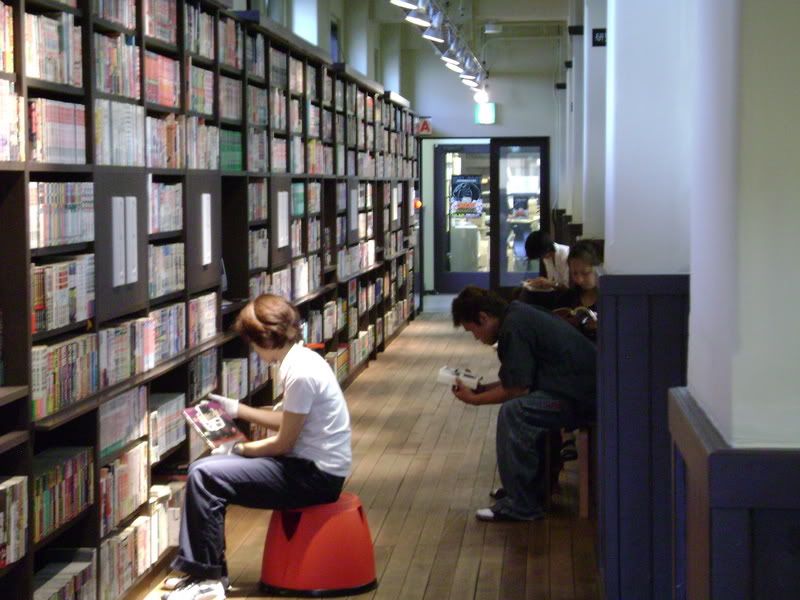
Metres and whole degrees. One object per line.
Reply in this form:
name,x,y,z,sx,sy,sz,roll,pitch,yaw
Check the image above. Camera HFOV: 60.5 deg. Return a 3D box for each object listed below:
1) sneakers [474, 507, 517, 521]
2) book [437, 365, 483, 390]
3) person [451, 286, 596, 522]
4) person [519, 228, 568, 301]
sneakers,0.612,1.329,4.325,0.239,0.077,0.101,5,0,-4
book,0.372,0.506,4.486,0.309,0.131,0.189,10,10,20
person,0.772,0.669,5.050,1.253,2.043,0.961,0,-2,16
person,1.615,-0.414,7.229,0.674,0.806,0.526,-1,5,-8
